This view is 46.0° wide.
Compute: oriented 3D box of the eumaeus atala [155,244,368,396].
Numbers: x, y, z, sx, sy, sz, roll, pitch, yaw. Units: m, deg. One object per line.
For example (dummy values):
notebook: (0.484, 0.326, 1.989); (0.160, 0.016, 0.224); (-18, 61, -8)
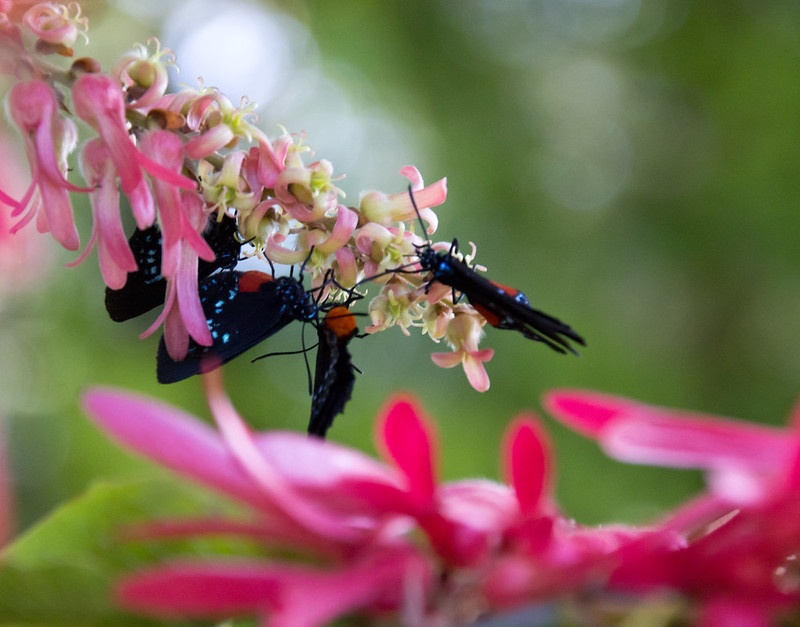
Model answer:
eumaeus atala: (-0.108, 0.000, 0.672); (0.096, 0.056, 0.108); (19, 16, 6)

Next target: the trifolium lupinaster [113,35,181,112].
trifolium lupinaster: (-0.182, -0.164, 0.656); (0.034, 0.056, 0.037); (8, -17, 27)

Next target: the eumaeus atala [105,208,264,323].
eumaeus atala: (-0.158, -0.035, 0.679); (0.035, 0.083, 0.073); (46, -22, 40)

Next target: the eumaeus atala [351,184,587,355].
eumaeus atala: (0.051, -0.023, 0.623); (0.153, 0.037, 0.090); (30, -26, 5)

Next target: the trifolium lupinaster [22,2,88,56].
trifolium lupinaster: (-0.246, -0.200, 0.660); (0.033, 0.032, 0.031); (23, 12, 30)

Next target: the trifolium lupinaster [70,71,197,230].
trifolium lupinaster: (-0.168, -0.111, 0.621); (0.116, 0.058, 0.035); (61, -3, 8)

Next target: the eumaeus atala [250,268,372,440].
eumaeus atala: (-0.081, 0.037, 0.814); (0.094, 0.124, 0.133); (22, 22, 24)
